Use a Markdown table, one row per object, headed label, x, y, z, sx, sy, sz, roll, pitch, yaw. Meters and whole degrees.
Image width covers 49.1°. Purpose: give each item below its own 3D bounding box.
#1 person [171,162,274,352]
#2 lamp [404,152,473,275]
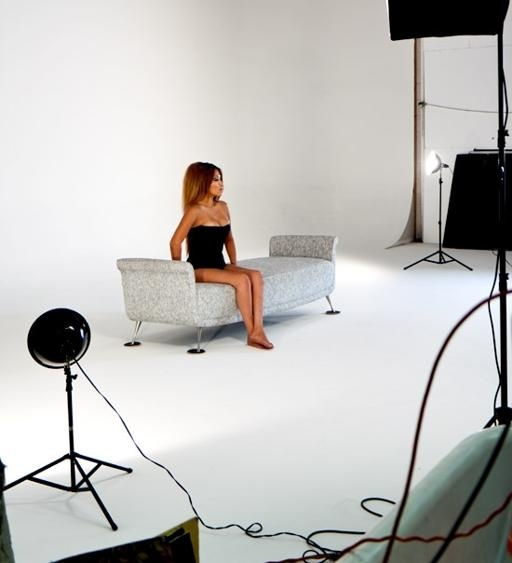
| label | x | y | z | sx | sy | sz | roll | pitch | yaw |
| --- | --- | --- | --- | --- | --- | --- | --- | --- | --- |
| person | -0.232 | -0.198 | 3.613 | 0.623 | 1.137 | 0.656 | -2 | 8 | 0 |
| lamp | 2.162 | -0.817 | 6.560 | 0.630 | 1.386 | 0.662 | 10 | -10 | -30 |
